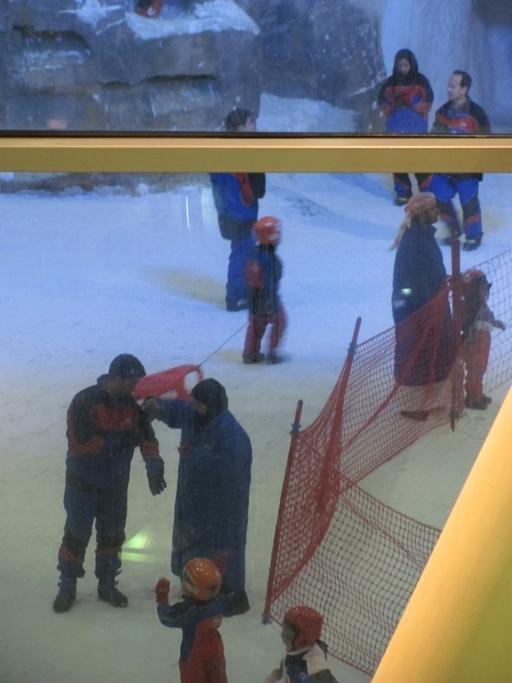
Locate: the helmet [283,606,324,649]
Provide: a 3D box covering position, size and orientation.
[{"bbox_3d":[0.113,0.660,2.422,0.066,0.104,0.102,6,5,10],"label":"helmet"}]

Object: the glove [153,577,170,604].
[{"bbox_3d":[-0.212,0.568,2.327,0.031,0.059,0.020,1,1,-3],"label":"glove"}]
